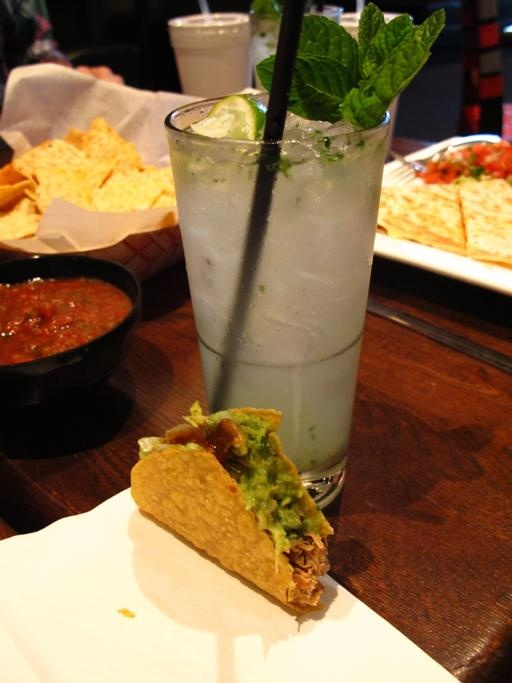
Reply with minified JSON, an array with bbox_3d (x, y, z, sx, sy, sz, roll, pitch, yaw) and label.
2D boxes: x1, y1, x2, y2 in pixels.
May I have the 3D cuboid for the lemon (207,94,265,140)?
[{"bbox_3d":[-0.018,-0.218,0.566,0.054,0.026,0.119,-3,32,-3],"label":"lemon"}]
